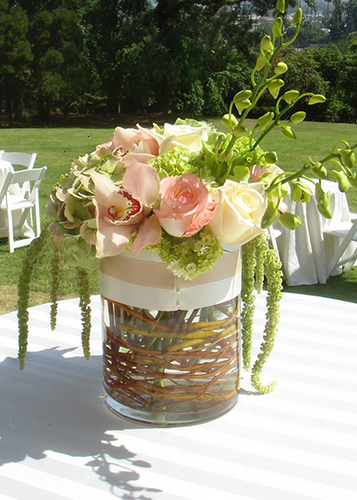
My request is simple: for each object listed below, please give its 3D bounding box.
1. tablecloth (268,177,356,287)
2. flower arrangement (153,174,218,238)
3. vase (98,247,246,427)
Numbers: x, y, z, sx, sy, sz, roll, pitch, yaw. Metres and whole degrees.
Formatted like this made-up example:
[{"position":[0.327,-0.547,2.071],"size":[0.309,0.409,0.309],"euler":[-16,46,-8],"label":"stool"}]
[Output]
[{"position":[1.159,-0.139,4.077],"size":[0.514,0.920,1.247],"euler":[8,9,34],"label":"tablecloth"},{"position":[0.010,-0.056,0.589],"size":[0.083,0.078,0.057],"euler":[1,8,-8],"label":"flower arrangement"},{"position":[0.018,0.107,0.808],"size":[0.204,0.204,0.200],"euler":[0,11,16],"label":"vase"}]
